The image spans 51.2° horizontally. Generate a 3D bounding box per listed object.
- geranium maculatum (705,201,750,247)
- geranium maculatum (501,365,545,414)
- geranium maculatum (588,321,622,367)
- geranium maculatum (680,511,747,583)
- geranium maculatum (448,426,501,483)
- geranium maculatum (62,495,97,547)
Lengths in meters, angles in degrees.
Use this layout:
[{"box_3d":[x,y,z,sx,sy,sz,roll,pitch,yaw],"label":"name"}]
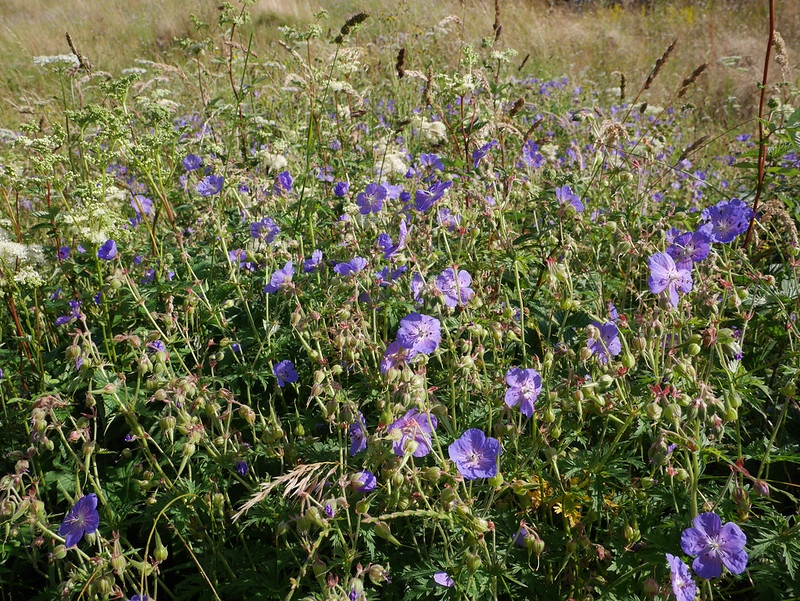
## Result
[{"box_3d":[1.615,-0.403,4.161,0.199,0.166,0.153,8,39,19],"label":"geranium maculatum"},{"box_3d":[0.529,0.398,3.584,0.157,0.207,0.221,-1,38,9],"label":"geranium maculatum"},{"box_3d":[0.903,0.187,3.687,0.056,0.205,0.163,-3,19,-41],"label":"geranium maculatum"},{"box_3d":[1.263,0.980,3.327,0.288,0.084,0.281,-7,20,-41],"label":"geranium maculatum"},{"box_3d":[0.296,0.629,3.455,0.195,0.079,0.225,12,20,-3],"label":"geranium maculatum"},{"box_3d":[-1.334,0.901,3.509,0.138,0.070,0.151,36,38,6],"label":"geranium maculatum"}]
